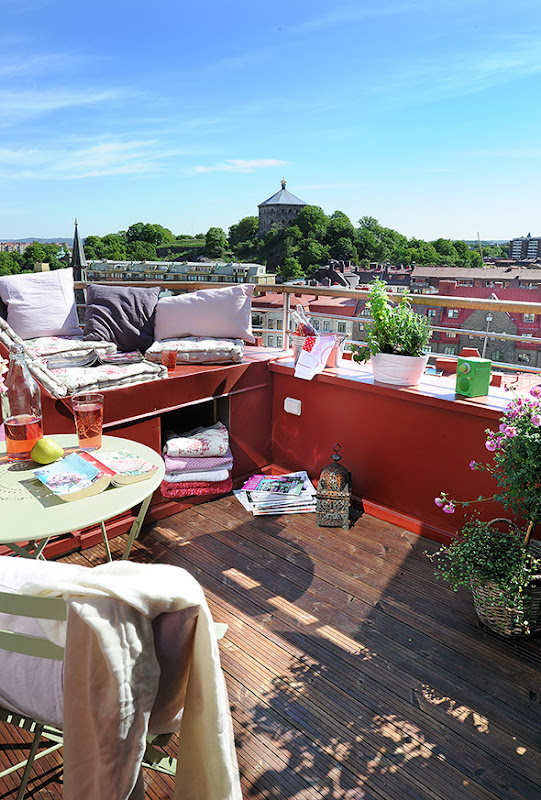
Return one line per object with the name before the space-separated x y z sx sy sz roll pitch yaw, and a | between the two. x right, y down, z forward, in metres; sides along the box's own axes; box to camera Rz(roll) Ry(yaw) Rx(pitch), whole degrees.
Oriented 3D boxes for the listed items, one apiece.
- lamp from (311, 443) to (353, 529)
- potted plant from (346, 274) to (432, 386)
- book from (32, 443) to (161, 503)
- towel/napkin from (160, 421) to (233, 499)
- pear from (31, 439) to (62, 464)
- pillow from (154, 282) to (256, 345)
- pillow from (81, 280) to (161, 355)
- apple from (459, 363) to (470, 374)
lamp | 0.318 0.438 2.519 0.178 0.364 0.193 2 12 7
potted plant | 0.578 -0.349 2.487 0.292 0.507 0.329 2 13 -13
book | -0.485 0.168 1.393 0.313 0.095 0.307 2 13 -19
towel/napkin | -0.428 0.282 2.716 0.381 0.342 0.348 -1 14 -17
pear | -0.657 0.147 1.443 0.077 0.062 0.060 4 -14 -43
pillow | -0.417 -0.523 3.052 0.601 0.354 0.300 0 12 -4
pillow | -0.887 -0.466 2.893 0.401 0.411 0.149 5 -22 -24
apple | 0.867 -0.145 2.214 0.017 0.035 0.034 -7 40 -15
